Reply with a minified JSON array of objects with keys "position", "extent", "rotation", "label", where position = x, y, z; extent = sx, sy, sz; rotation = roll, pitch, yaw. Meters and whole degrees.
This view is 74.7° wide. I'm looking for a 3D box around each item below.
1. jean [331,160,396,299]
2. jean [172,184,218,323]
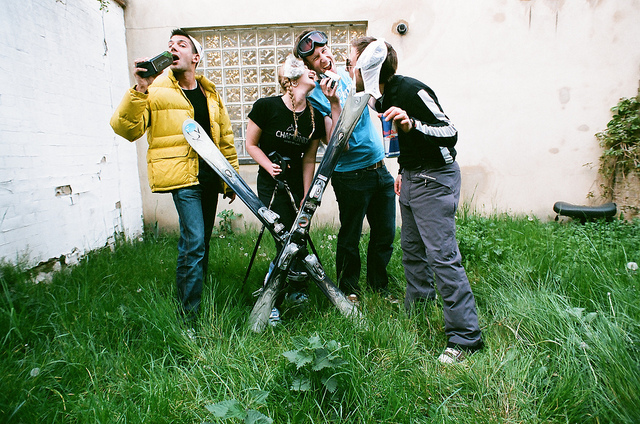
[{"position":[0.413,0.164,3.916],"extent":[0.597,1.261,0.344],"rotation":[-1,12,2],"label":"jean"},{"position":[-1.083,0.303,3.608],"extent":[0.330,1.056,0.715],"rotation":[-2,13,-3],"label":"jean"}]
